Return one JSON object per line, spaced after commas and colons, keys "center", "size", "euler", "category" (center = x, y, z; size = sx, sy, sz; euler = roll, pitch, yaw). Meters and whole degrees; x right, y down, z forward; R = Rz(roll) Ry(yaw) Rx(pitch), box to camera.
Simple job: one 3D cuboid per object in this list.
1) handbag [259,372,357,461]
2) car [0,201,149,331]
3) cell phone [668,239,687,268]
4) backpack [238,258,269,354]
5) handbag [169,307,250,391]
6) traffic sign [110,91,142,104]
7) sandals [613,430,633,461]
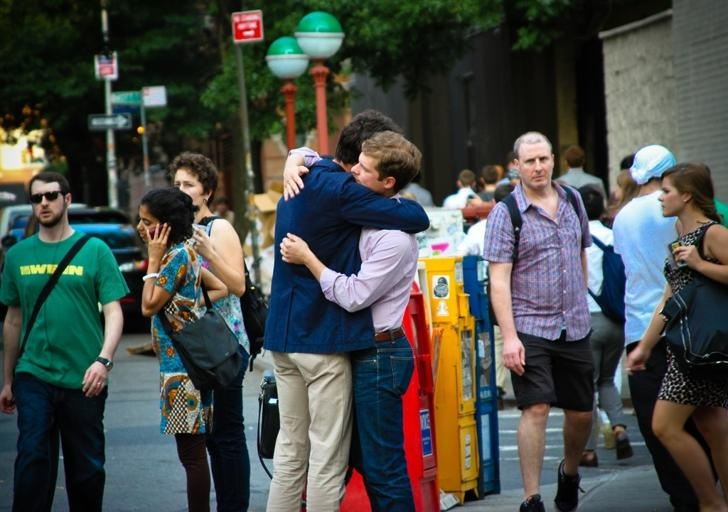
{"center": [-0.572, 1.299, 8.609], "size": [0.524, 0.609, 0.585], "euler": [3, -8, -25], "category": "handbag"}
{"center": [-5.191, 0.279, 19.705], "size": [2.262, 2.118, 4.786], "euler": [-2, 7, -21], "category": "car"}
{"center": [2.236, -0.003, 7.907], "size": [0.048, 0.165, 0.175], "euler": [4, 9, 9], "category": "cell phone"}
{"center": [-0.860, 0.434, 8.743], "size": [0.244, 0.465, 0.313], "euler": [-11, -3, 0], "category": "backpack"}
{"center": [-1.122, 0.670, 7.854], "size": [0.304, 0.574, 0.418], "euler": [-21, 6, 39], "category": "handbag"}
{"center": [-2.551, -1.715, 11.795], "size": [0.313, 0.083, 0.348], "euler": [-1, 2, -5], "category": "traffic sign"}
{"center": [2.356, 1.707, 9.949], "size": [0.120, 0.282, 0.124], "euler": [-5, 30, 0], "category": "sandals"}
